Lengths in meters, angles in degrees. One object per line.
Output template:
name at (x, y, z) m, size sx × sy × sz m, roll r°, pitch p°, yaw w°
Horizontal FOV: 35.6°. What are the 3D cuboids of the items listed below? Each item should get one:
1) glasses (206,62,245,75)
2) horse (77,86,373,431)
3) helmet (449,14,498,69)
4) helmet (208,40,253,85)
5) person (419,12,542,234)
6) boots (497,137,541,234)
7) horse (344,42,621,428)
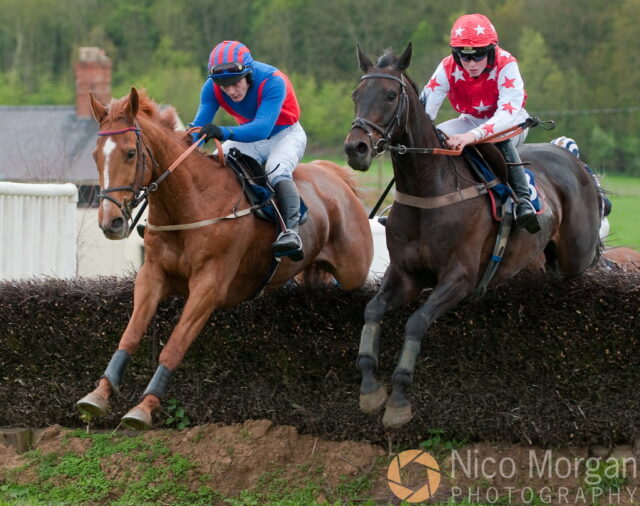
glasses at (-0.766, -1.530, 8.235) m, size 0.307 × 0.116 × 0.111 m, roll -5°, pitch 25°, yaw -6°
horse at (-0.928, -0.236, 8.235) m, size 0.975 × 2.461 × 3.141 m, roll 17°, pitch 31°, yaw 37°
helmet at (1.261, -1.732, 8.162) m, size 0.435 × 0.417 × 0.438 m, roll -15°, pitch 28°, yaw -16°
helmet at (-0.722, -1.610, 8.383) m, size 0.316 × 0.249 × 0.408 m, roll -21°, pitch 2°, yaw 11°
person at (1.208, -1.105, 8.347) m, size 1.183 × 1.654 × 1.051 m, roll -9°, pitch 17°, yaw 3°
boots at (1.559, -0.548, 8.190) m, size 0.227 × 0.844 × 0.273 m, roll -18°, pitch -9°, yaw 22°
horse at (1.158, -0.292, 8.279) m, size 1.014 × 2.918 × 2.944 m, roll 20°, pitch 33°, yaw 40°
